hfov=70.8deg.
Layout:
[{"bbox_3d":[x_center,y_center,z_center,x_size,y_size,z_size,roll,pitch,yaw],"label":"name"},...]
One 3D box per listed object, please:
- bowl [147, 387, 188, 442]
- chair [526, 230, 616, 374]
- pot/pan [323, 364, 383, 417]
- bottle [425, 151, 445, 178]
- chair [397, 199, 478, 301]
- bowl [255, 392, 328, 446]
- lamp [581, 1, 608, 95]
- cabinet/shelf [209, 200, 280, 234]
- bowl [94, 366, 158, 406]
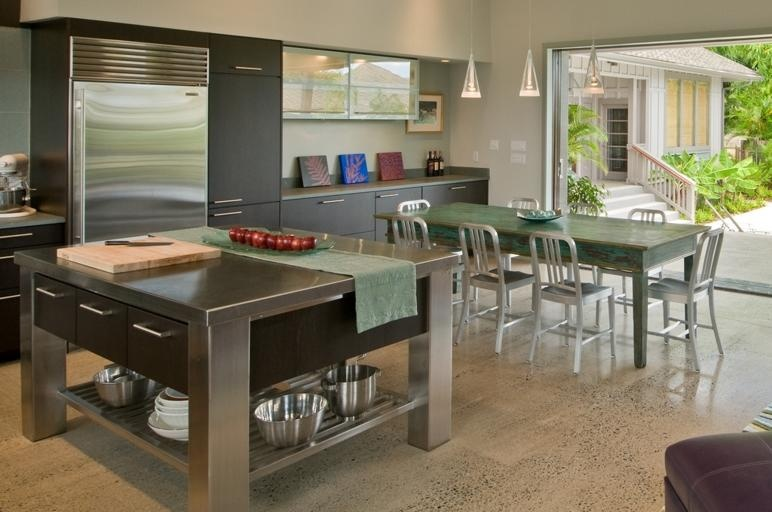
[{"bbox_3d":[-1.153,0.852,2.905,0.318,0.156,0.316,1,1,0],"label":"bowl"},{"bbox_3d":[1.710,0.258,4.938,0.768,1.133,1.564,5,15,20],"label":"chair"},{"bbox_3d":[-0.180,0.788,3.193,0.320,0.189,0.237,-4,4,-25],"label":"pot/pan"},{"bbox_3d":[0.766,-1.405,8.197,0.379,0.382,0.164,-14,20,-42],"label":"bottle"},{"bbox_3d":[0.487,0.043,5.361,0.659,0.939,0.582,-4,6,15],"label":"chair"},{"bbox_3d":[-0.513,0.899,2.939,0.367,0.149,0.344,-3,12,1],"label":"bowl"},{"bbox_3d":[1.909,-1.850,4.996,0.152,0.574,0.152,14,30,43],"label":"lamp"},{"bbox_3d":[-1.403,-0.386,5.250,0.469,0.289,0.249,-5,11,-38],"label":"cabinet/shelf"},{"bbox_3d":[-1.557,0.830,3.282,0.306,0.157,0.375,11,-14,-42],"label":"bowl"}]
